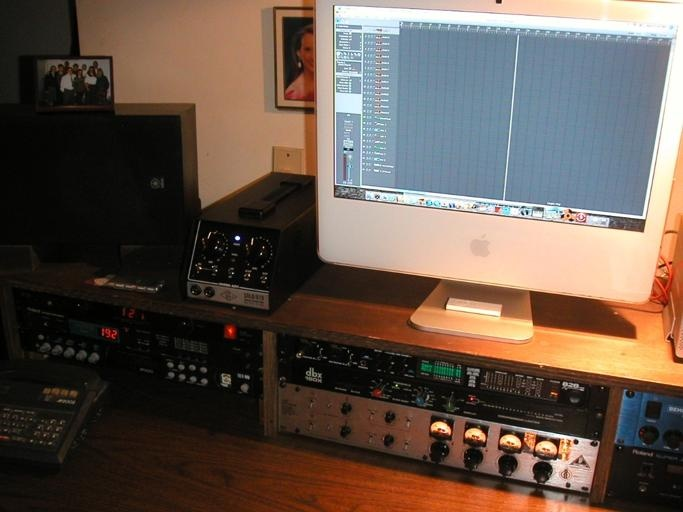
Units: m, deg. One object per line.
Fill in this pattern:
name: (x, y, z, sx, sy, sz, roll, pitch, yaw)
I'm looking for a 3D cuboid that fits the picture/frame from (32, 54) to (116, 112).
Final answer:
picture/frame: (-0.683, -0.434, 1.483, 0.148, 0.114, 0.011, -1, -1, -6)
